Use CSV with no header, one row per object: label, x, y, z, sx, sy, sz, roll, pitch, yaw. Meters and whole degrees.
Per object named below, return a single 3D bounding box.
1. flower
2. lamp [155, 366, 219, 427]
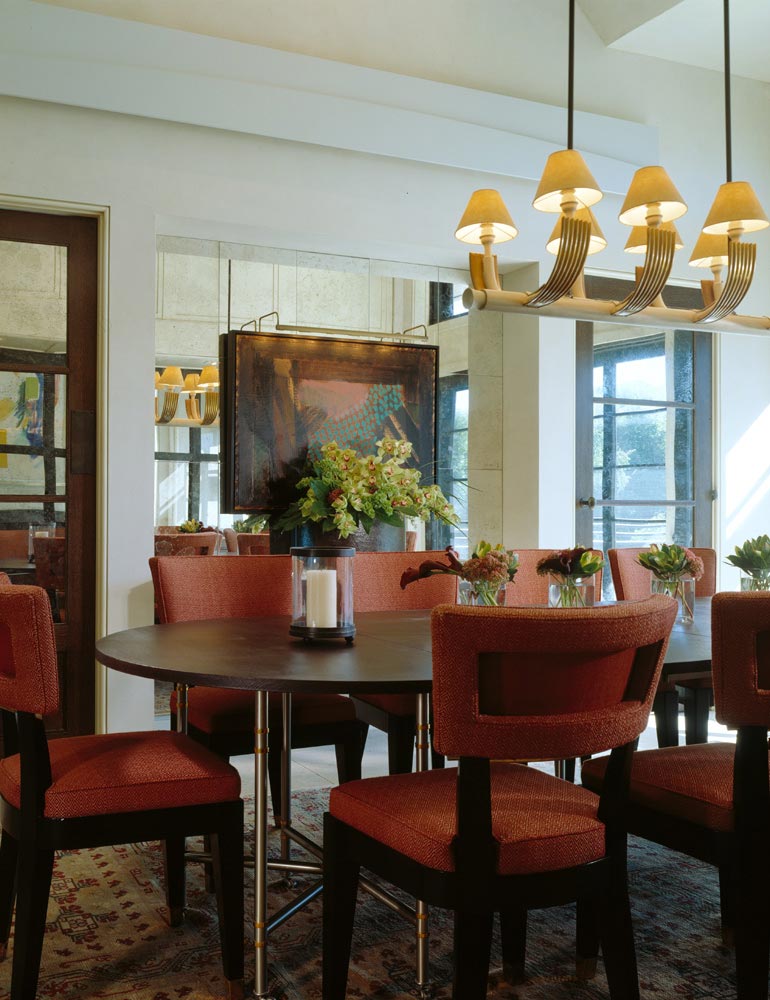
flower,-0.078,-0.023,3.826,0.893,0.433,0.329,1,5,44
lamp,-1.111,-0.572,5.062,0.343,0.266,0.344,4,4,31
